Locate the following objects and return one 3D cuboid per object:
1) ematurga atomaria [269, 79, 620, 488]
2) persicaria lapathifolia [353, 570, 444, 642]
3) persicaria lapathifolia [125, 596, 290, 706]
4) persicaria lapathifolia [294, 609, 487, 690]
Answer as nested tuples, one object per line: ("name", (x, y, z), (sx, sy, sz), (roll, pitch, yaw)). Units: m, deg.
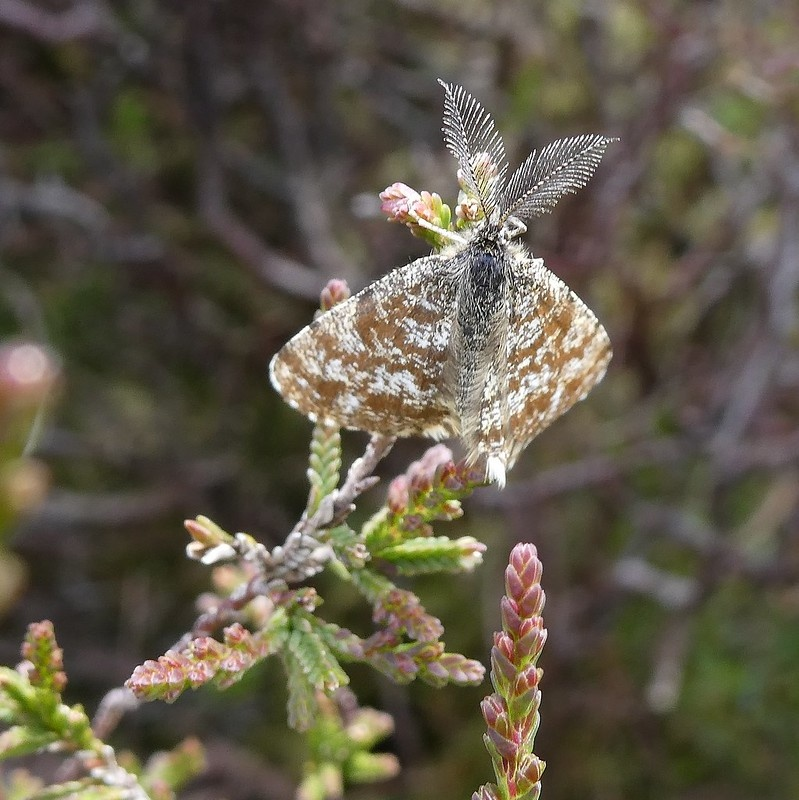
("ematurga atomaria", (0.177, -0.251, 4.329), (1.254, 0.551, 1.245), (5, 98, -4))
("persicaria lapathifolia", (-0.010, 0.644, 4.589), (0.316, 0.132, 0.155), (35, 59, 23))
("persicaria lapathifolia", (-0.567, 0.795, 4.468), (0.509, 0.300, 0.168), (-27, 75, -7))
("persicaria lapathifolia", (-0.012, 0.795, 4.545), (0.378, 0.474, 0.240), (-5, 108, -15))
